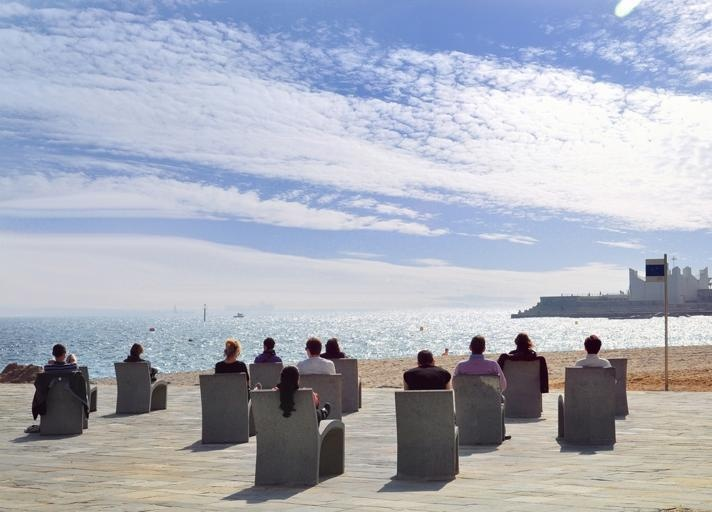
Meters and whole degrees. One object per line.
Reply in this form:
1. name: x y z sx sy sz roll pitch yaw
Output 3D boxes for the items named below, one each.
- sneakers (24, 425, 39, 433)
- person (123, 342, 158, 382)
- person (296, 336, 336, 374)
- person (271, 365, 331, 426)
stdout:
1. sneakers: -5.917 3.163 14.945 0.139 0.097 0.300 5 -12 -36
2. person: -4.666 2.254 17.541 0.720 0.684 0.624 1 1 -13
3. person: -0.764 1.832 14.711 0.470 0.687 1.000 -6 -10 42
4. person: -0.704 1.952 11.531 0.555 0.811 1.183 -2 -6 24
